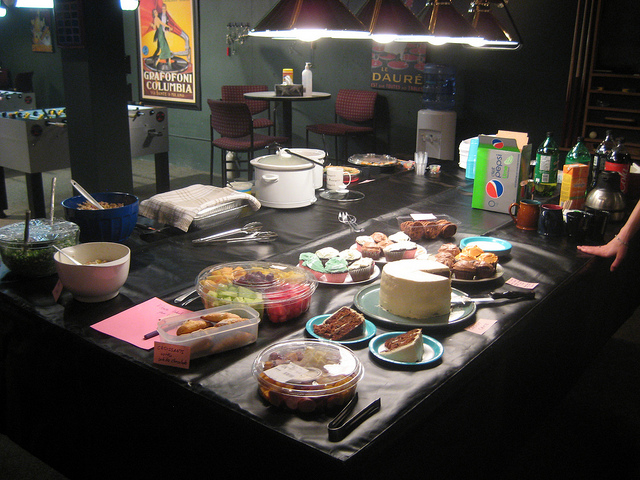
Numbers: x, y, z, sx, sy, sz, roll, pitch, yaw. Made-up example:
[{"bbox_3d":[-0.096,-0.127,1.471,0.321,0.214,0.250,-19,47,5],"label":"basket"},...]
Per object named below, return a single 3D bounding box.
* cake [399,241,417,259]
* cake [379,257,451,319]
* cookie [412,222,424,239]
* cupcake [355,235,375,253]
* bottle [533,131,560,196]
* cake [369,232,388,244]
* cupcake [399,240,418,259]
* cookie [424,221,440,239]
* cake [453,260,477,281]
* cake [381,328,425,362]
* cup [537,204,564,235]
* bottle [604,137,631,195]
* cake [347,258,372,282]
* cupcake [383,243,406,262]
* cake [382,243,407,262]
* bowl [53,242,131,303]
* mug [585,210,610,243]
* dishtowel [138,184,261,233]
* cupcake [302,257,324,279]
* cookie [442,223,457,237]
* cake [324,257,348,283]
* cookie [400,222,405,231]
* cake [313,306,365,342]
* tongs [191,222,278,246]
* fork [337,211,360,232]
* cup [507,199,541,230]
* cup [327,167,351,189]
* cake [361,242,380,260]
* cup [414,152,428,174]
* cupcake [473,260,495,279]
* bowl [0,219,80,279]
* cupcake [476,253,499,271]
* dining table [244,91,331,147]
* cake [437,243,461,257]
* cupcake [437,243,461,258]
[{"bbox_3d":[0.351,0.035,1.925,0.062,0.053,0.063,6,22,14],"label":"cake"},{"bbox_3d":[0.315,0.141,1.627,0.244,0.129,0.265,1,23,9],"label":"cake"},{"bbox_3d":[0.432,-0.042,2.141,0.064,0.068,0.025,-13,22,-33],"label":"cookie"},{"bbox_3d":[0.184,0.013,1.956,0.064,0.052,0.062,-2,25,-1],"label":"cupcake"},{"bbox_3d":[1.273,-0.429,2.709,0.128,0.364,0.420,9,20,25],"label":"bottle"},{"bbox_3d":[0.249,-0.010,2.012,0.048,0.015,0.048,-14,28,-30],"label":"cake"},{"bbox_3d":[0.358,0.034,1.927,0.066,0.045,0.067,16,25,41],"label":"cupcake"},{"bbox_3d":[0.499,-0.039,2.160,0.067,0.076,0.028,-9,21,-25],"label":"cookie"},{"bbox_3d":[0.525,0.110,1.754,0.072,0.055,0.069,-4,16,-12],"label":"cake"},{"bbox_3d":[0.239,0.303,1.396,0.115,0.046,0.137,-15,8,26],"label":"cake"},{"bbox_3d":[1.059,-0.093,2.292,0.127,0.126,0.124,-3,22,1],"label":"cup"},{"bbox_3d":[1.633,-0.410,2.663,0.121,0.295,0.191,14,23,35],"label":"bottle"},{"bbox_3d":[0.145,0.111,1.746,0.070,0.048,0.074,-4,6,4],"label":"cake"},{"bbox_3d":[0.290,0.050,1.887,0.069,0.049,0.069,-5,14,-9],"label":"cupcake"},{"bbox_3d":[0.294,0.053,1.912,0.084,0.057,0.077,-9,20,-24],"label":"cake"},{"bbox_3d":[-0.734,0.113,1.621,0.217,0.130,0.211,2,19,-1],"label":"bowl"},{"bbox_3d":[1.222,-0.061,2.217,0.152,0.142,0.100,3,18,18],"label":"mug"},{"bbox_3d":[-0.571,-0.167,2.306,0.402,0.120,0.422,18,26,39],"label":"dishtowel"},{"bbox_3d":[-0.022,0.104,1.753,0.074,0.062,0.062,-3,19,-9],"label":"cupcake"},{"bbox_3d":[0.581,-0.040,2.170,0.072,0.065,0.022,-10,21,-28],"label":"cookie"},{"bbox_3d":[0.060,0.107,1.735,0.082,0.076,0.084,0,17,0],"label":"cake"},{"bbox_3d":[0.369,-0.057,2.157,0.010,0.041,0.032,-6,20,-17],"label":"cookie"},{"bbox_3d":[0.053,0.255,1.437,0.137,0.062,0.116,-16,24,-39],"label":"cake"},{"bbox_3d":[-0.380,-0.021,2.129,0.161,0.039,0.196,15,22,35],"label":"tongs"},{"bbox_3d":[0.145,-0.092,2.301,0.035,0.026,0.188,2,26,-15],"label":"fork"},{"bbox_3d":[0.973,-0.117,2.297,0.173,0.140,0.106,7,15,27],"label":"cup"},{"bbox_3d":[0.097,-0.357,2.841,0.162,0.107,0.110,4,27,7],"label":"cup"},{"bbox_3d":[0.208,0.045,1.913,0.065,0.049,0.066,1,10,1],"label":"cake"},{"bbox_3d":[0.662,-0.502,3.181,0.068,0.136,0.055,2,19,8],"label":"cup"},{"bbox_3d":[0.599,0.110,1.773,0.067,0.046,0.067,0,13,-2],"label":"cupcake"},{"bbox_3d":[-0.978,0.020,1.748,0.241,0.135,0.239,3,16,-1],"label":"bowl"},{"bbox_3d":[0.621,0.081,1.807,0.067,0.048,0.058,-3,15,-6],"label":"cupcake"},{"bbox_3d":[-0.345,-1.379,5.643,0.900,0.660,1.503,0,18,-1],"label":"dining table"},{"bbox_3d":[0.507,0.034,1.893,0.057,0.019,0.056,8,18,16],"label":"cake"},{"bbox_3d":[0.503,0.036,1.887,0.058,0.018,0.055,2,22,4],"label":"cupcake"}]
